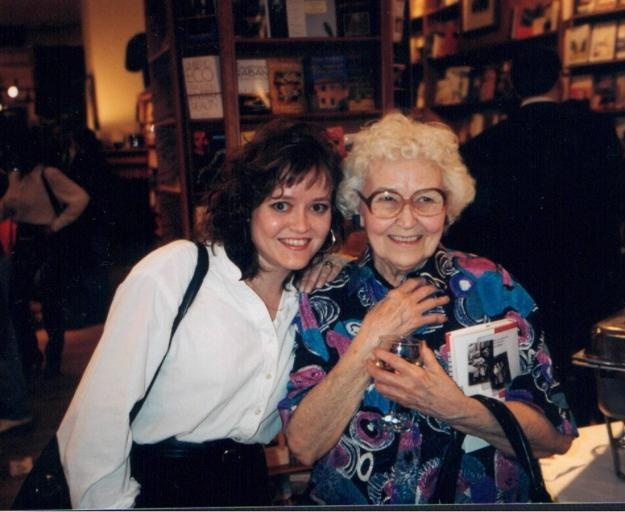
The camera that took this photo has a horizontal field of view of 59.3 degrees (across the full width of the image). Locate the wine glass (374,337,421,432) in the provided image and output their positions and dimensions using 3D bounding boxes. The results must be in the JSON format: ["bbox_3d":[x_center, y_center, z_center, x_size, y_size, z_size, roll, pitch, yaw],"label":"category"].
[{"bbox_3d":[0.264,0.378,1.646,0.121,0.289,0.098,-1,9,10],"label":"wine glass"}]

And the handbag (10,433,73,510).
[{"bbox_3d":[-0.824,0.675,1.690,0.200,0.188,0.047,39,-8,-19],"label":"handbag"}]
